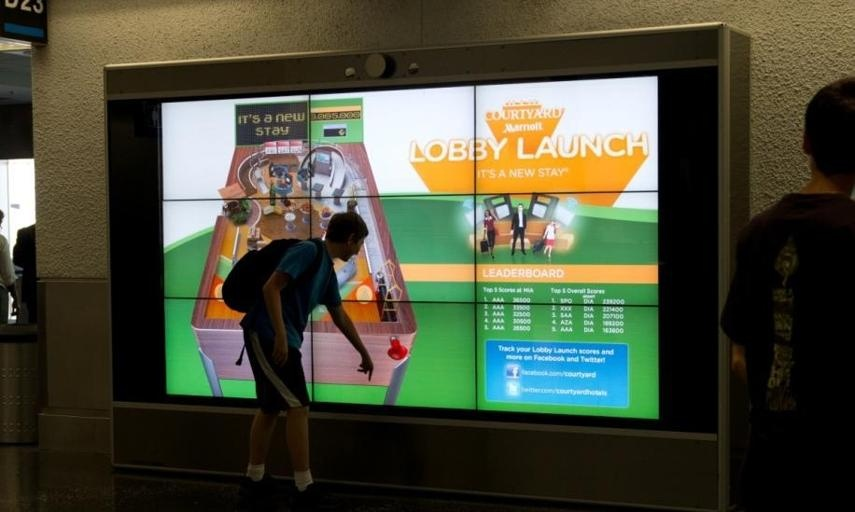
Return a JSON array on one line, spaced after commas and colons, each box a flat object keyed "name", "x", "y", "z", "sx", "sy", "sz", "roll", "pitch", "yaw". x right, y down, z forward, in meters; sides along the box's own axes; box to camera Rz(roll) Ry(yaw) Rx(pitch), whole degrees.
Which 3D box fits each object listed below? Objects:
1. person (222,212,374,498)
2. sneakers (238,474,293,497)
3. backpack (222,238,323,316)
[{"name": "person", "x": -1.031, "y": 0.746, "z": 5.402, "sx": 1.057, "sy": 2.160, "sz": 0.386, "roll": 0, "pitch": 2, "yaw": -17}, {"name": "sneakers", "x": -1.300, "y": 1.808, "z": 5.593, "sx": 0.413, "sy": 0.169, "sz": 0.146, "roll": -1, "pitch": 8, "yaw": -11}, {"name": "backpack", "x": -1.215, "y": 0.100, "z": 5.420, "sx": 0.745, "sy": 0.245, "sz": 0.525, "roll": -29, "pitch": 25, "yaw": -26}]
